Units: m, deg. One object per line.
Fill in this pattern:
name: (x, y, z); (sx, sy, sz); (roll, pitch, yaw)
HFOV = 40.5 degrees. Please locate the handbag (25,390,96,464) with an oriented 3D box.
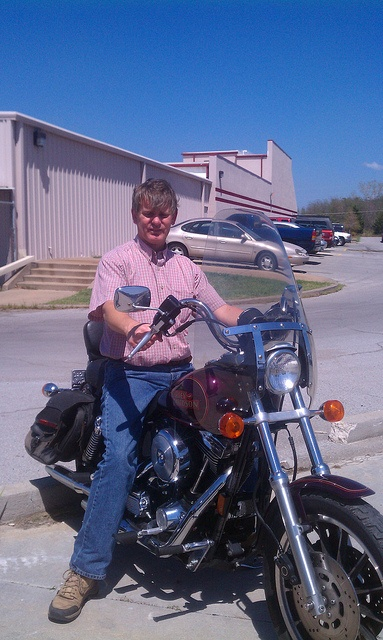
handbag: (-0.748, 0.654, 3.042); (0.278, 0.389, 0.384); (5, -5, 43)

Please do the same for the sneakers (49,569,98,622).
sneakers: (-0.512, 1.186, 2.281); (0.119, 0.158, 0.347); (-2, -5, 17)
